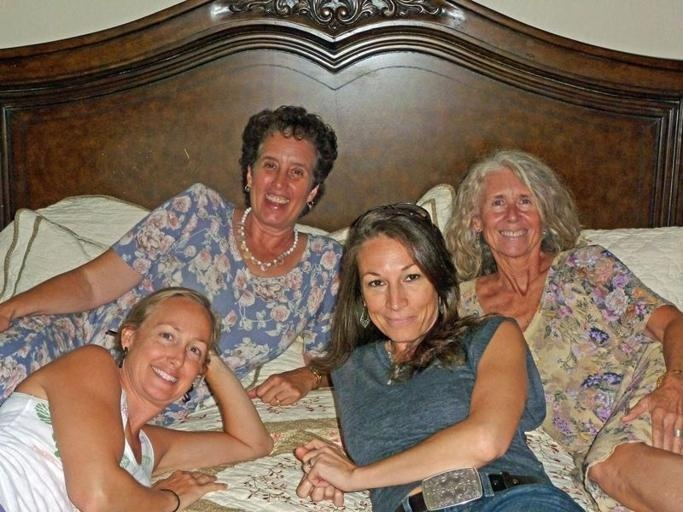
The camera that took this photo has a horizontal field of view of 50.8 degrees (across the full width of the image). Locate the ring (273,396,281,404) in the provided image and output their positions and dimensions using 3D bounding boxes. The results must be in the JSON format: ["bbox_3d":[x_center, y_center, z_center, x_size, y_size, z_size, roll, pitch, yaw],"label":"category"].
[{"bbox_3d":[-0.265,0.584,2.954,0.023,0.016,0.023,5,-2,0],"label":"ring"}]

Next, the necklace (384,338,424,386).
[{"bbox_3d":[0.226,0.375,2.544,0.082,0.073,0.260,4,-21,-9],"label":"necklace"}]
